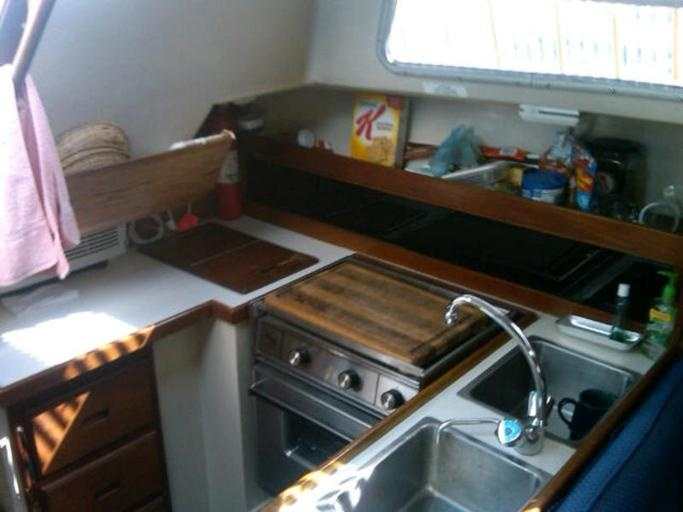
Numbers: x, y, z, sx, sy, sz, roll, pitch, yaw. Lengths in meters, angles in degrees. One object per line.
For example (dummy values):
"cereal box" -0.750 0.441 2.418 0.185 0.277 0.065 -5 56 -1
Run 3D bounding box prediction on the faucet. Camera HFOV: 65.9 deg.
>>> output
"faucet" 0.411 0.317 1.411 0.322 0.392 0.166 17 25 27

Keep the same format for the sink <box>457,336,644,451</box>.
"sink" 0.634 0.418 1.588 0.344 0.164 0.424 24 32 37

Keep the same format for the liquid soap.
"liquid soap" 1.032 0.187 1.693 0.065 0.278 0.118 5 22 -1
